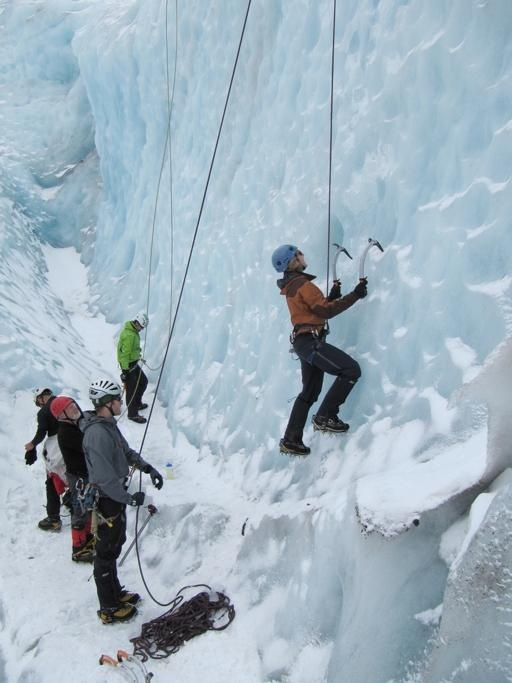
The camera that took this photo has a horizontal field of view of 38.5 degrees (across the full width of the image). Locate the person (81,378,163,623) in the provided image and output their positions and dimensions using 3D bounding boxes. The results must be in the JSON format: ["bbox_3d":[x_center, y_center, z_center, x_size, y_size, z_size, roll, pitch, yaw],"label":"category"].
[{"bbox_3d":[-0.747,0.867,3.991,0.358,1.246,0.434,-2,1,6],"label":"person"}]

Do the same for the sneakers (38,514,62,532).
[{"bbox_3d":[-1.388,1.227,4.926,0.085,0.128,0.094,166,123,-75],"label":"sneakers"}]

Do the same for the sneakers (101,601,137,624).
[{"bbox_3d":[-0.734,1.456,3.965,0.200,0.101,0.080,-13,17,-20],"label":"sneakers"}]

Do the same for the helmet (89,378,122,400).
[{"bbox_3d":[-0.815,0.256,3.947,0.137,0.091,0.097,-16,13,-36],"label":"helmet"}]

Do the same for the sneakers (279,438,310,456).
[{"bbox_3d":[0.228,0.618,4.288,0.202,0.121,0.076,7,-8,-15],"label":"sneakers"}]

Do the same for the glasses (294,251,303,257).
[{"bbox_3d":[0.250,-0.510,4.261,0.024,0.021,0.086,-12,13,1],"label":"glasses"}]

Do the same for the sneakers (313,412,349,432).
[{"bbox_3d":[0.420,0.459,4.174,0.223,0.118,0.084,0,1,5],"label":"sneakers"}]

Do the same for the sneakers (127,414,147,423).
[{"bbox_3d":[-1.112,0.718,6.853,0.128,0.046,0.072,4,17,15],"label":"sneakers"}]

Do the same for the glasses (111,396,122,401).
[{"bbox_3d":[-0.752,0.304,3.960,0.028,0.033,0.017,17,-2,-12],"label":"glasses"}]

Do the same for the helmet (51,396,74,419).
[{"bbox_3d":[-1.168,0.384,4.419,0.138,0.118,0.103,-60,4,-1],"label":"helmet"}]

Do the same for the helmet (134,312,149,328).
[{"bbox_3d":[-1.074,-0.203,6.851,0.102,0.137,0.137,23,13,26],"label":"helmet"}]

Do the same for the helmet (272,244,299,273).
[{"bbox_3d":[0.175,-0.486,4.258,0.123,0.170,0.119,20,18,-2],"label":"helmet"}]

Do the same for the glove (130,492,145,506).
[{"bbox_3d":[-0.641,0.856,3.970,0.080,0.060,0.084,10,74,-1],"label":"glove"}]
